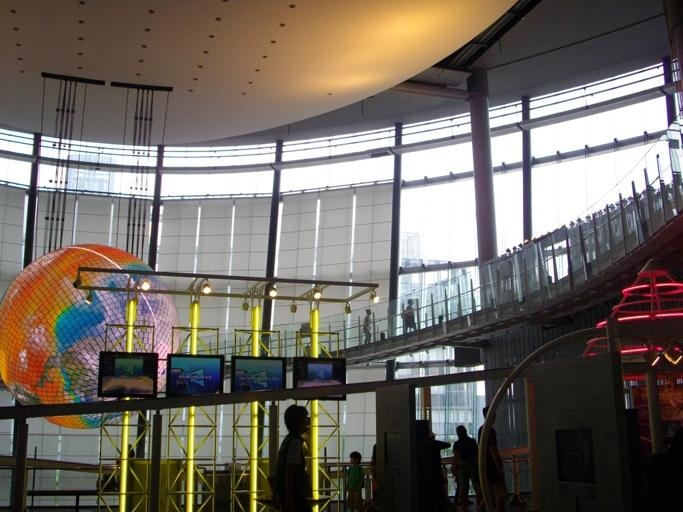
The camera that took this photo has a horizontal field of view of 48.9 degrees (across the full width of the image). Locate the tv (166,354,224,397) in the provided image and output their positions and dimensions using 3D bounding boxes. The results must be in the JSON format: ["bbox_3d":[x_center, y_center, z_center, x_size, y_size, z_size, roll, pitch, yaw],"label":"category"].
[{"bbox_3d":[-3.574,2.890,17.945,0.968,0.728,0.104,3,-13,-20],"label":"tv"}]

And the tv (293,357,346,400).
[{"bbox_3d":[-0.578,2.892,17.593,1.322,1.025,0.142,5,-12,-23],"label":"tv"}]

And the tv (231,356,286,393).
[{"bbox_3d":[-2.107,2.956,18.513,0.940,0.681,0.099,3,-16,-16],"label":"tv"}]

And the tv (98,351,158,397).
[{"bbox_3d":[-4.911,2.689,17.053,0.120,0.854,1.154,-12,-16,40],"label":"tv"}]
